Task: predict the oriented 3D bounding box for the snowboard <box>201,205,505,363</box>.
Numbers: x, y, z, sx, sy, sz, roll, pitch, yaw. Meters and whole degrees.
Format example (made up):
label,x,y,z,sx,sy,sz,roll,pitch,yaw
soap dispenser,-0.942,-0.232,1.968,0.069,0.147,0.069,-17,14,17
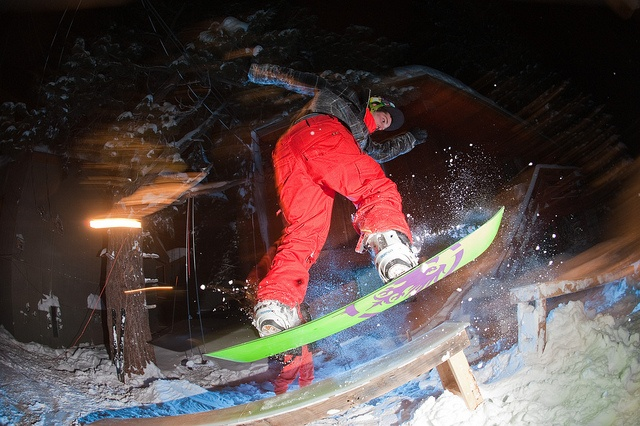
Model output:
label,x,y,z,sx,sy,sz,roll,pitch,yaw
snowboard,0.619,1.019,6.339,3.442,0.381,0.410,-31,-45,-1
